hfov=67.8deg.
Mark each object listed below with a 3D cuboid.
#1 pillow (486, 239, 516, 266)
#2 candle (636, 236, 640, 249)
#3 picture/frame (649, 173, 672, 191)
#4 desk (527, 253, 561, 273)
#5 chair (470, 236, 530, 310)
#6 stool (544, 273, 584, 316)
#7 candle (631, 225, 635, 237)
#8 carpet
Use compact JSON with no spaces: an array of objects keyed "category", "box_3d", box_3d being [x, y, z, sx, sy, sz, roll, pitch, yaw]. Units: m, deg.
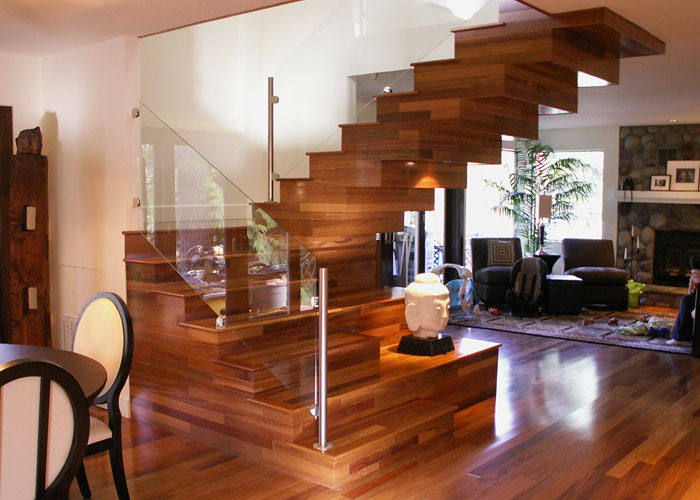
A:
[{"category":"pillow","box_3d":[2.487,0.056,8.633,0.404,0.385,0.140,2,-20,-3]},{"category":"candle","box_3d":[5.352,-0.130,9.679,0.054,0.215,0.033,1,7,5]},{"category":"picture/frame","box_3d":[5.631,-1.229,9.439,0.305,0.266,0.032,13,8,43]},{"category":"desk","box_3d":[3.282,0.177,8.697,0.459,0.454,0.454,-3,3,-44]},{"category":"chair","box_3d":[2.417,0.309,8.698,0.943,1.278,1.065,0,1,-6]},{"category":"stool","box_3d":[3.300,0.689,8.041,0.577,0.582,0.575,0,1,-1]},{"category":"candle","box_3d":[5.271,-0.357,9.687,0.075,0.217,0.049,4,7,29]},{"category":"carpet","box_3d":[3.169,1.004,7.451,2.798,0.159,1.782,4,7,29]}]
